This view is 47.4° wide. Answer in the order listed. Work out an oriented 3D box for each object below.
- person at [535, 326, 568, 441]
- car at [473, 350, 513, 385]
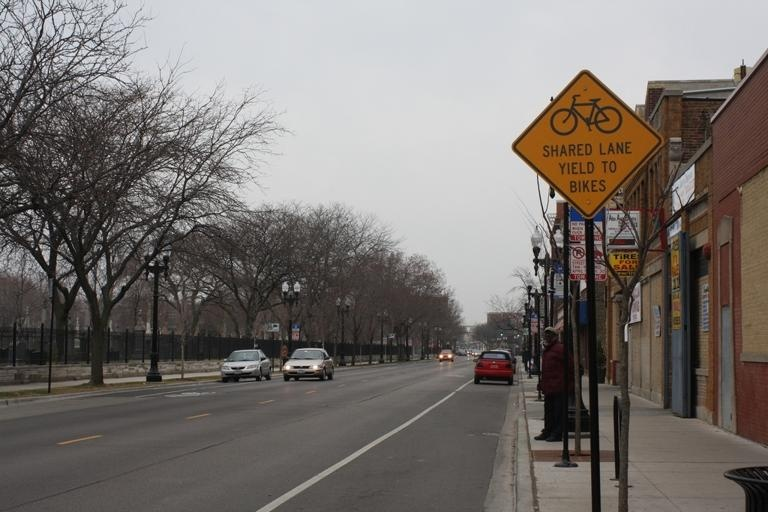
[{"bbox_3d":[4.372,3.413,23.139,0.739,2.938,1.539,-3,-11,9],"label":"person"},{"bbox_3d":[5.898,6.048,47.365,2.070,1.860,1.264,-1,-12,-3],"label":"car"}]
